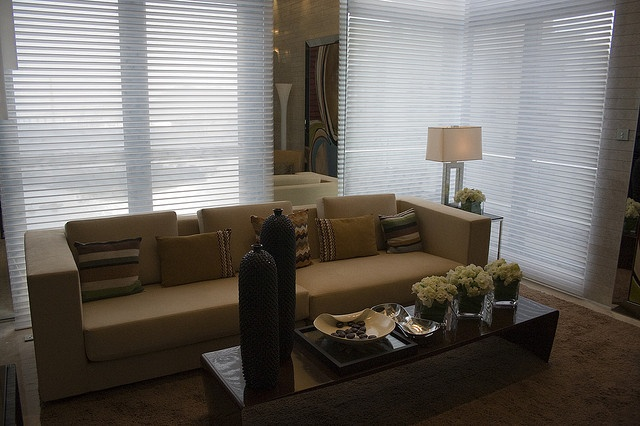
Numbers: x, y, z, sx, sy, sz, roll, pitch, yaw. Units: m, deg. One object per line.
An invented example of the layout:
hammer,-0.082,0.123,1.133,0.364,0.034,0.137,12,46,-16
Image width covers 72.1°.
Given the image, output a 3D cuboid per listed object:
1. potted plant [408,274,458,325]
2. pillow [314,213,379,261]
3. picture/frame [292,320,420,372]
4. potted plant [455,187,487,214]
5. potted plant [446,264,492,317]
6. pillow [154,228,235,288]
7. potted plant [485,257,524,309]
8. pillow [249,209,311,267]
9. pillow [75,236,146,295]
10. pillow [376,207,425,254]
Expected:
potted plant,0.808,0.637,3.302,0.372,0.301,0.287,3,12,-7
pillow,0.256,0.236,4.340,0.671,0.384,0.234,-3,6,-33
picture/frame,0.212,0.868,2.868,0.453,0.052,0.432,-6,12,-34
potted plant,1.768,-0.169,5.027,0.337,0.293,0.327,-12,17,-36
potted plant,1.205,0.617,3.411,0.439,0.380,0.393,-8,-14,41
pillow,-1.067,0.396,3.704,0.512,0.309,0.165,-9,-23,-29
potted plant,1.442,0.537,3.454,0.394,0.358,0.329,-1,3,-15
pillow,-0.293,0.300,4.250,0.624,0.533,0.213,-6,7,35
pillow,-1.666,0.421,3.463,0.480,0.399,0.172,-7,-14,-35
pillow,0.834,0.204,4.576,0.538,0.417,0.284,-12,26,-42
